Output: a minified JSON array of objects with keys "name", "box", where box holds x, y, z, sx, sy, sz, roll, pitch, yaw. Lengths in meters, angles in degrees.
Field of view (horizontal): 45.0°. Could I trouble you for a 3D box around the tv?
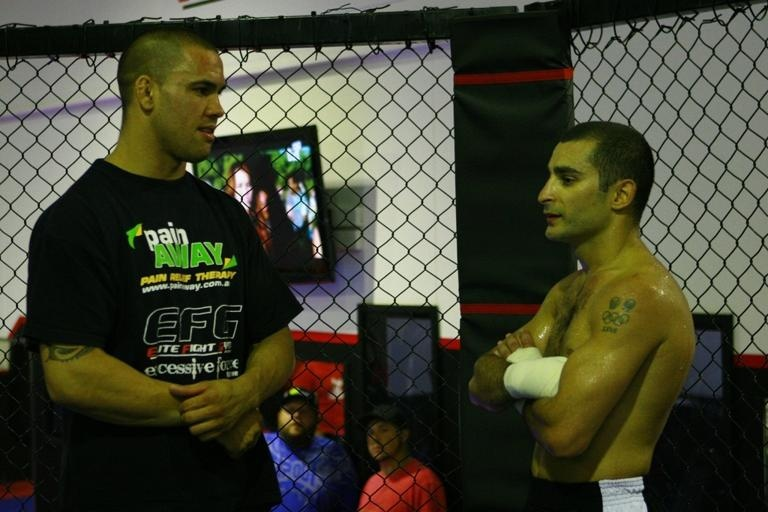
[{"name":"tv","box":[-0.734,-0.284,5.461,0.082,0.894,1.034,-11,-5,39]}]
